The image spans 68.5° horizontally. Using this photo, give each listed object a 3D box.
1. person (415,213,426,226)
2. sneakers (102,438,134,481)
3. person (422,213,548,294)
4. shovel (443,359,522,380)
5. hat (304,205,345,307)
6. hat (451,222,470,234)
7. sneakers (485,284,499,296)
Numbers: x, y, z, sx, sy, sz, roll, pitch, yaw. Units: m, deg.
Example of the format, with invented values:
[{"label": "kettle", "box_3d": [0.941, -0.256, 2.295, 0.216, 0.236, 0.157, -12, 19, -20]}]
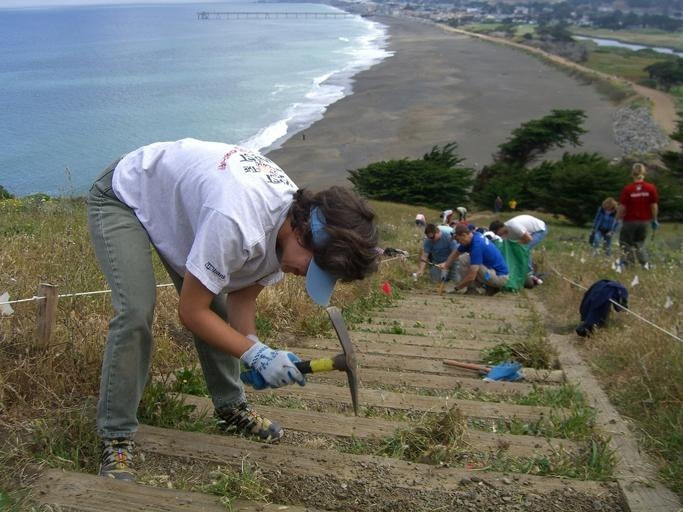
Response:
[{"label": "person", "box_3d": [3.748, -1.704, 23.883, 0.477, 0.323, 1.320, 11, 9, 0]}, {"label": "sneakers", "box_3d": [-1.162, 1.058, 2.631, 0.136, 0.131, 0.315, 5, -5, -20]}, {"label": "person", "box_3d": [2.675, 0.063, 9.348, 1.823, 1.042, 1.130, 0, 16, 33]}, {"label": "shovel", "box_3d": [1.347, 1.031, 4.493, 0.366, 0.077, 0.245, 5, -19, 25]}, {"label": "hat", "box_3d": [-0.119, 0.013, 2.694, 0.167, 0.523, 0.194, 4, 15, 9]}, {"label": "hat", "box_3d": [2.148, -0.491, 9.031, 0.282, 0.183, 0.267, 14, 6, 10]}, {"label": "sneakers", "box_3d": [2.734, 0.635, 9.182, 0.209, 0.206, 0.154, -33, 23, 27]}]
